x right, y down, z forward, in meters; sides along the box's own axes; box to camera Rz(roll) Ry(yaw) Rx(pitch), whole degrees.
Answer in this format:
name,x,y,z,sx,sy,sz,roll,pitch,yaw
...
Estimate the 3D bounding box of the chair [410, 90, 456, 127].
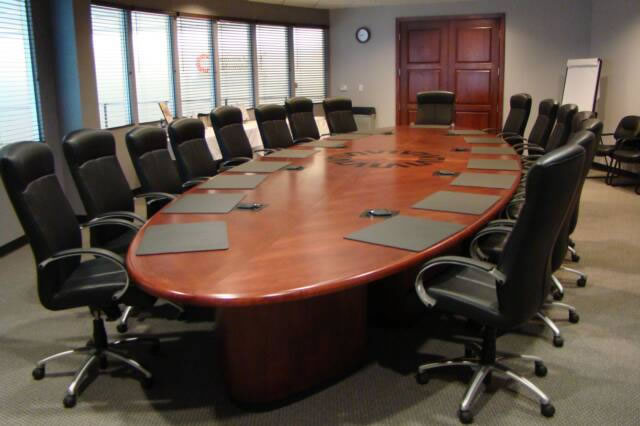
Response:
name,x,y,z,sx,sy,sz,roll,pitch,yaw
chair,1.831,-1.515,7.760,0.688,0.848,0.702,0,1,-3
